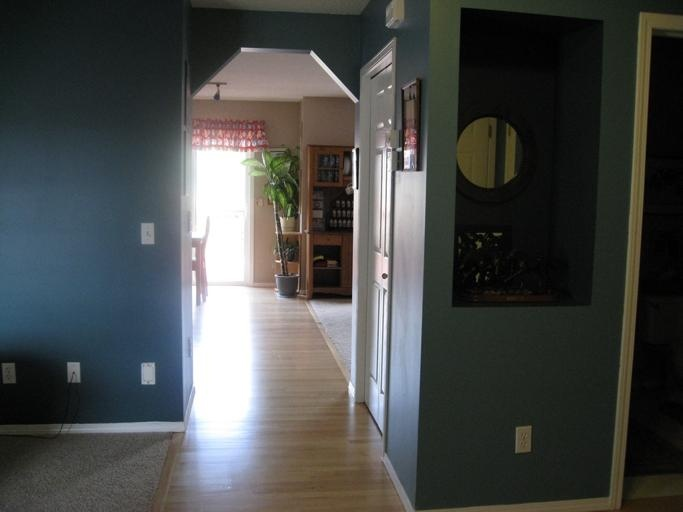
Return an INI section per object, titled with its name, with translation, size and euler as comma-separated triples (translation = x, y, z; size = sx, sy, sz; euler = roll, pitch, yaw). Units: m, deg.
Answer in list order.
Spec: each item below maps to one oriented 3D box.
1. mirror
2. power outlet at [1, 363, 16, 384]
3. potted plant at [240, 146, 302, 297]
[mirror]
translation = 0.861, -0.585, 3.320
size = 0.467, 0.524, 0.112
euler = -2, 7, -11
[power outlet]
translation = -2.210, 0.777, 3.864
size = 0.088, 0.146, 0.026
euler = 1, 1, 1
[potted plant]
translation = -1.003, -0.520, 8.514
size = 0.776, 2.193, 0.868
euler = 0, 2, -24
